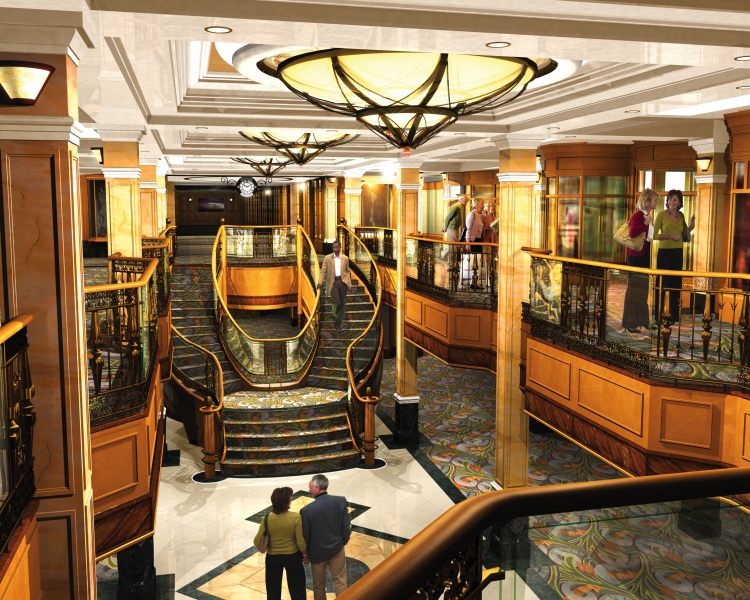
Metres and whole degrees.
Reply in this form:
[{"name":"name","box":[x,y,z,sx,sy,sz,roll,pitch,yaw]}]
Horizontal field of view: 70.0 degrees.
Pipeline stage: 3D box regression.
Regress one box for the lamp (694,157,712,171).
[{"name":"lamp","box":[5.812,-2.412,9.473,0.100,0.274,0.297,-4,10,-13]}]

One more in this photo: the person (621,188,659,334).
[{"name":"person","box":[3.363,-0.537,6.824,0.337,1.750,1.355,3,11,27]}]
